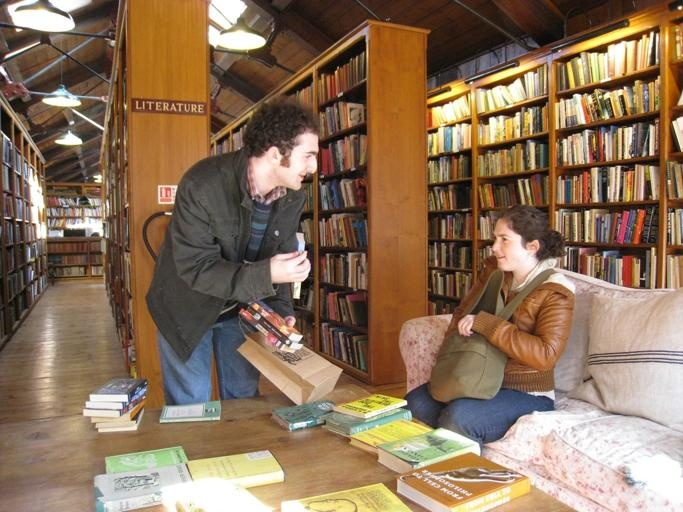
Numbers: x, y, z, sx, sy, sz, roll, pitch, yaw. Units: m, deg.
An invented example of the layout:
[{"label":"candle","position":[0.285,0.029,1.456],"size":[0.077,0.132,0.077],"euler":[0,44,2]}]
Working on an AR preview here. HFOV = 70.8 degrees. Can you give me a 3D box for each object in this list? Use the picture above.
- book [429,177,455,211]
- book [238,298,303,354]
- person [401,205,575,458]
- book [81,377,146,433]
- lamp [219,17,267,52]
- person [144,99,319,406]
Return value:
[{"label":"book","position":[1.205,-0.732,5.919],"size":[0.319,0.372,0.422],"euler":[0,-2,26]},{"label":"book","position":[-0.279,0.281,1.896],"size":[0.228,0.064,0.217],"euler":[34,-4,-26]},{"label":"person","position":[0.745,0.347,2.590],"size":[0.934,1.083,0.828],"euler":[1,7,32]},{"label":"book","position":[-0.885,0.578,1.875],"size":[0.173,0.097,0.217],"euler":[2,3,-3]},{"label":"lamp","position":[-1.023,-2.253,4.984],"size":[0.441,0.187,0.420],"euler":[1,0,-31]},{"label":"person","position":[-0.497,0.046,2.172],"size":[0.829,1.446,0.578],"euler":[-4,14,-13]}]
